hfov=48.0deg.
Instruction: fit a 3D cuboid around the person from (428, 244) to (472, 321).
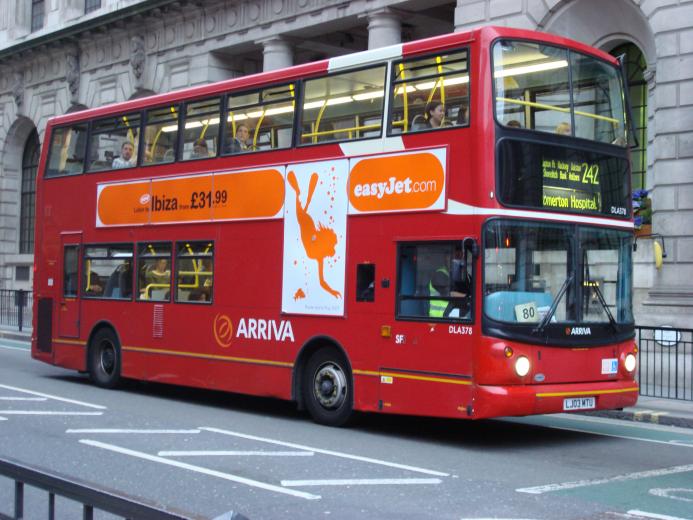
[{"bbox_3d":[1.374,0.348,10.594,0.265,0.904,0.767,1,-1,-31],"label":"person"}]
